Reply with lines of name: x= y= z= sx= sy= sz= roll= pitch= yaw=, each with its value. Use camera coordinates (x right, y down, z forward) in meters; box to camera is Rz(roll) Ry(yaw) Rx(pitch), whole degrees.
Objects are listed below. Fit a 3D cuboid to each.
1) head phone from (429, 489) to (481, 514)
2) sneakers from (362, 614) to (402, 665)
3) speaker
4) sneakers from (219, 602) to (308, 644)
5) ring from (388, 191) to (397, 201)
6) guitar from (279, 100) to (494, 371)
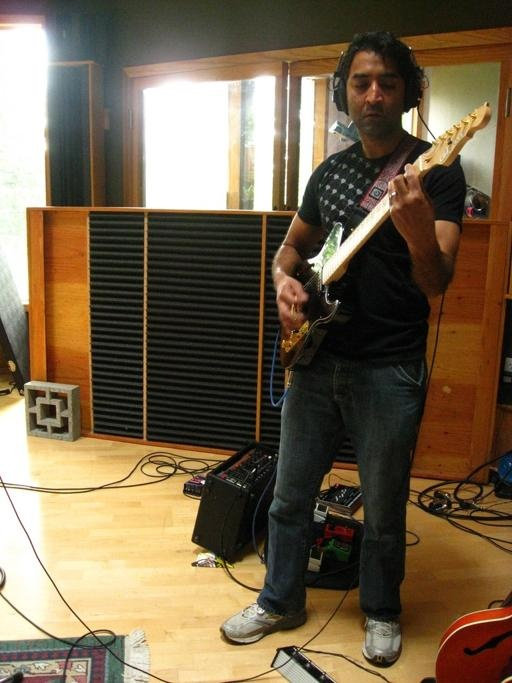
head phone: x=0.865 y=0.717 z=2.723 sx=0.158 sy=0.044 sz=0.100 roll=-8 pitch=15 yaw=-41
sneakers: x=0.375 y=0.861 z=1.812 sx=0.108 sy=0.096 sz=0.264 roll=5 pitch=1 yaw=13
speaker: x=-0.044 y=0.605 z=2.440 sx=0.182 sy=0.351 sz=0.477 roll=19 pitch=13 yaw=19
sneakers: x=0.027 y=0.831 z=1.874 sx=0.253 sy=0.103 sz=0.094 roll=-2 pitch=0 yaw=-17
ring: x=0.274 y=-0.288 z=1.236 sx=0.011 sy=0.018 sz=0.019 roll=11 pitch=31 yaw=33
guitar: x=0.267 y=-0.176 z=1.525 sx=0.245 sy=0.642 sz=0.826 roll=-1 pitch=12 yaw=-11
